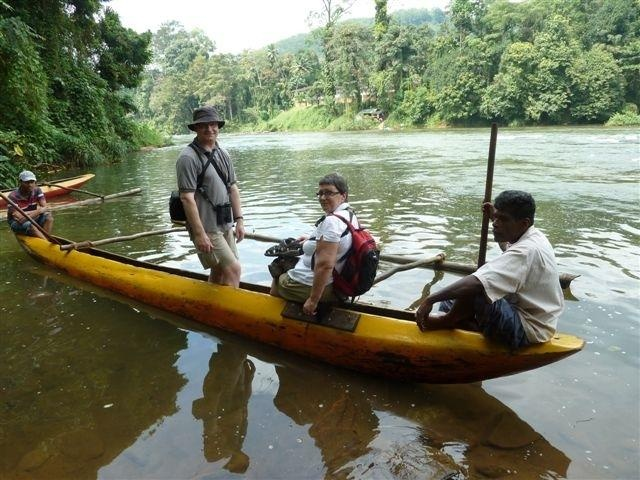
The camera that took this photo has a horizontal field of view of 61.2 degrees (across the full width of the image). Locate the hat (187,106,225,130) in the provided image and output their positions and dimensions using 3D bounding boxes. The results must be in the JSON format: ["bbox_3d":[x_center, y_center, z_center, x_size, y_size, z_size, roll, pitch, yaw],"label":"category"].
[{"bbox_3d":[-1.378,-1.480,6.570,0.358,0.151,0.417,-3,8,-8],"label":"hat"}]

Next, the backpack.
[{"bbox_3d":[0.390,0.202,6.002,0.507,1.028,0.267,-1,21,3],"label":"backpack"}]

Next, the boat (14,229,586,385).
[{"bbox_3d":[-0.314,0.864,6.543,6.247,0.587,0.681,12,-1,22],"label":"boat"}]

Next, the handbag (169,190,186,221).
[{"bbox_3d":[-1.731,-0.400,6.584,0.182,0.457,0.385,-7,21,-14],"label":"handbag"}]

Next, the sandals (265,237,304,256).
[{"bbox_3d":[-0.456,0.088,6.586,0.545,0.200,0.186,-1,5,3],"label":"sandals"}]

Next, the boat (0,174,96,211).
[{"bbox_3d":[-6.928,-1.390,14.332,0.731,0.475,3.324,12,25,24],"label":"boat"}]

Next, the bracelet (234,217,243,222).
[{"bbox_3d":[-1.070,-0.282,7.121,0.079,0.028,0.075,2,11,13],"label":"bracelet"}]
